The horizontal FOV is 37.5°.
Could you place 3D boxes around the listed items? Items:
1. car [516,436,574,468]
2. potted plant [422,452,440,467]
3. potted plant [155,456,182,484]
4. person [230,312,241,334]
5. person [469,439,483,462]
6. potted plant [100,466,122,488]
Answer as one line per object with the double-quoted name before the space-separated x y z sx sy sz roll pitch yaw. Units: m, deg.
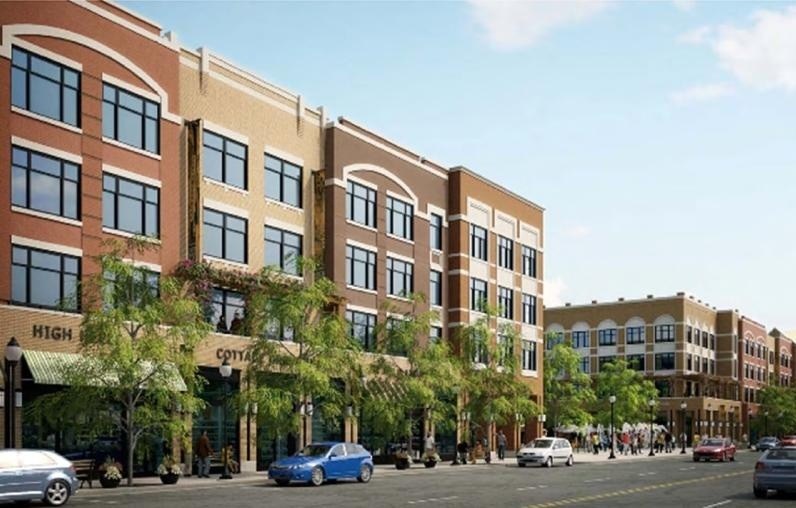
"car" 9.964 13.388 79.244 3.939 2.053 1.605 13 -24 -37
"potted plant" 2.119 13.304 75.618 0.813 1.024 0.703 -1 -18 -5
"potted plant" -12.147 11.567 62.886 1.292 1.422 1.351 1 -3 13
"person" -9.942 4.212 71.492 0.663 1.330 0.289 1 -18 -10
"person" 5.763 13.903 82.303 0.977 1.470 1.451 2 -16 -3
"potted plant" -14.784 11.430 60.302 1.027 1.047 1.031 8 -18 -25
